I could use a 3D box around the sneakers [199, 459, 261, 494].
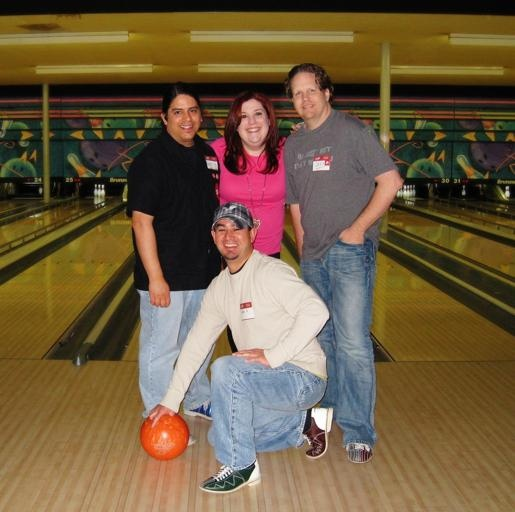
[{"bbox_3d":[-0.076,0.677,1.382,0.192,0.080,0.068,-10,1,-19],"label":"sneakers"}]

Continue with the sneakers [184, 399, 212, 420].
[{"bbox_3d":[-0.239,0.657,1.863,0.151,0.063,0.054,-1,-1,15],"label":"sneakers"}]

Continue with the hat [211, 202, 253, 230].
[{"bbox_3d":[-0.085,-0.140,1.545,0.145,0.092,0.118,0,6,-2],"label":"hat"}]

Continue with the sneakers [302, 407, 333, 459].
[{"bbox_3d":[0.210,0.629,1.570,0.095,0.142,0.123,2,6,14],"label":"sneakers"}]
